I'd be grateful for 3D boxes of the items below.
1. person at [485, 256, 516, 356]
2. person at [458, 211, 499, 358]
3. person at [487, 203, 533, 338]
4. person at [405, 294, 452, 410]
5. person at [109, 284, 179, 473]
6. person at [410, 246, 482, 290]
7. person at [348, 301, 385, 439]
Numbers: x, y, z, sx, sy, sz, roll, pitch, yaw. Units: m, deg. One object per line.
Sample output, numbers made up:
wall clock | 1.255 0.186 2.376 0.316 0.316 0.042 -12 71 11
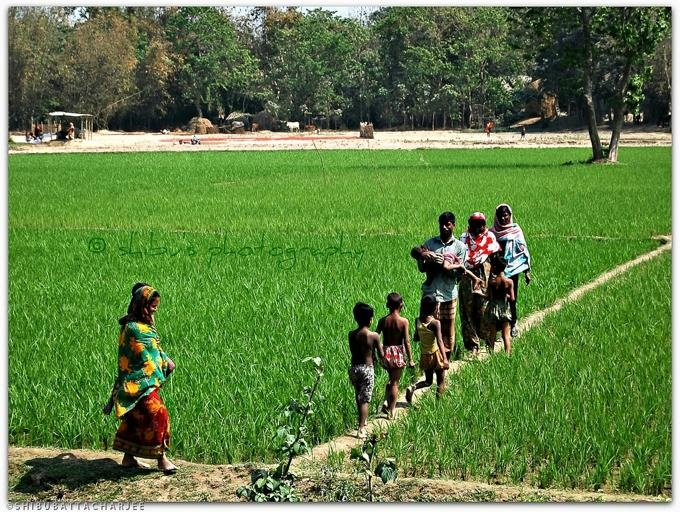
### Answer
person | 2.441 0.763 14.835 0.405 1.496 0.573 4 13 18
person | 2.057 0.510 14.852 0.731 2.307 0.591 -3 15 3
person | 2.644 0.249 15.399 0.688 2.041 0.547 -3 3 5
person | 1.174 1.359 13.619 0.659 1.576 0.682 -6 9 -16
person | -2.521 1.551 12.467 0.868 2.270 0.650 3 13 14
person | 1.608 0.190 14.343 1.138 0.680 0.582 -12 18 -39
person | 0.328 1.481 13.101 0.502 1.710 0.796 4 13 18
